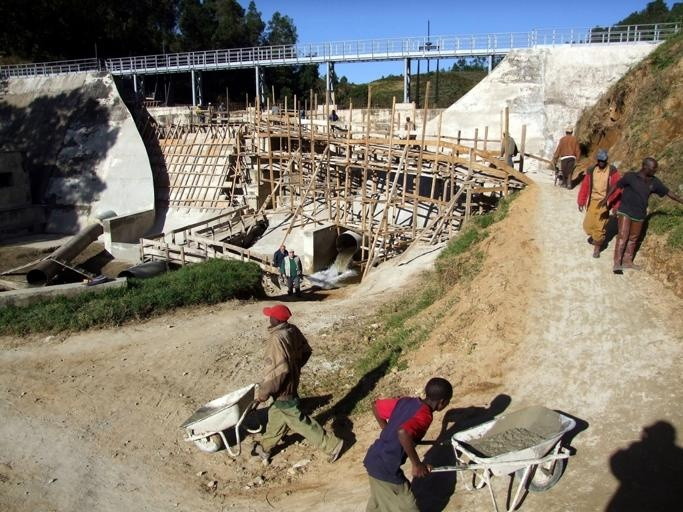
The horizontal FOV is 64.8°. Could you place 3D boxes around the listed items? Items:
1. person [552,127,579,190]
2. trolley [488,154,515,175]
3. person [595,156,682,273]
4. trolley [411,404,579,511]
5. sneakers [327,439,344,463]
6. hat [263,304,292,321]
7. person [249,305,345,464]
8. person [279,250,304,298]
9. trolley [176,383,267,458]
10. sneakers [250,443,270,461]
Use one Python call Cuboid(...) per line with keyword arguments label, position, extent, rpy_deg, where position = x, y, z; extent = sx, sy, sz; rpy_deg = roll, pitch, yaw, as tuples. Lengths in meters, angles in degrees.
Cuboid(label="person", position=(5.434, -2.438, 13.123), extent=(0.526, 1.444, 0.452), rpy_deg=(9, 16, 34))
Cuboid(label="trolley", position=(4.688, -2.762, 15.905), extent=(0.671, 0.513, 1.858), rpy_deg=(4, 14, 14))
Cuboid(label="person", position=(5.071, -0.722, 9.358), extent=(1.001, 2.054, 0.839), rpy_deg=(10, 16, 35))
Cuboid(label="trolley", position=(1.914, 2.457, 6.554), extent=(1.767, 0.886, 1.021), rpy_deg=(-18, 13, -15))
Cuboid(label="sneakers", position=(-0.095, 2.861, 7.808), extent=(0.141, 0.422, 0.165), rpy_deg=(9, -7, -31))
Cuboid(label="hat", position=(-0.967, 0.857, 7.936), extent=(0.381, 0.206, 0.266), rpy_deg=(14, 29, 11))
Cuboid(label="person", position=(-0.752, 1.947, 7.826), extent=(1.131, 2.389, 0.767), rpy_deg=(-2, 13, -10))
Cuboid(label="person", position=(-1.587, 0.459, 16.660), extent=(0.647, 1.606, 1.180), rpy_deg=(-1, 13, -6))
Cuboid(label="trolley", position=(-1.673, 2.521, 8.192), extent=(1.386, 0.971, 0.892), rpy_deg=(-10, 8, 8))
Cuboid(label="sneakers", position=(-1.214, 2.966, 8.058), extent=(0.343, 0.159, 0.129), rpy_deg=(35, 30, 26))
